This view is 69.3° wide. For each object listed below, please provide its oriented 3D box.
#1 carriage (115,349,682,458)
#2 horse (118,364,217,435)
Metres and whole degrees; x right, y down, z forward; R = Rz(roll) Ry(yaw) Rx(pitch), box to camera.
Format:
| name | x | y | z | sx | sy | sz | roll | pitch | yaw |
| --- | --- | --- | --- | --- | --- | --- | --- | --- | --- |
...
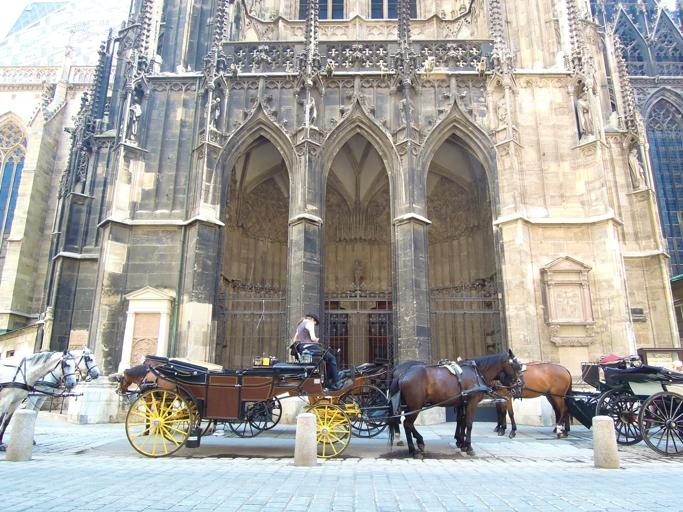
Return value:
| name | x | y | z | sx | sy | sz | roll | pitch | yaw |
| --- | --- | --- | --- | --- | --- | --- | --- | --- | --- |
| carriage | -0.265 | 3.027 | 10.281 | 8.525 | 2.069 | 1.975 | -1 | -15 | -2 |
| horse | -3.669 | 2.850 | 9.885 | 1.916 | 1.156 | 0.456 | -4 | -1 | 28 |
